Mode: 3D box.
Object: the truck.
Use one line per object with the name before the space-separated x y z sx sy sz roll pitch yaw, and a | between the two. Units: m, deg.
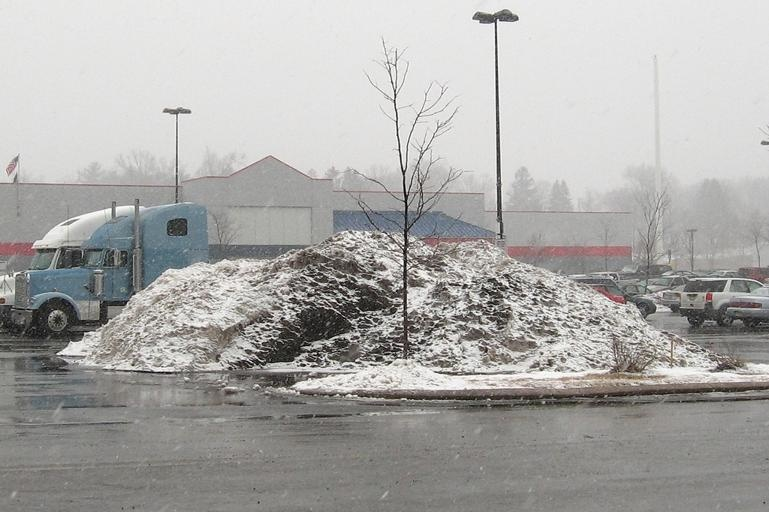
truck | -10.881 0.559 55.998 6.820 4.282 4.583 2 -5 -25
